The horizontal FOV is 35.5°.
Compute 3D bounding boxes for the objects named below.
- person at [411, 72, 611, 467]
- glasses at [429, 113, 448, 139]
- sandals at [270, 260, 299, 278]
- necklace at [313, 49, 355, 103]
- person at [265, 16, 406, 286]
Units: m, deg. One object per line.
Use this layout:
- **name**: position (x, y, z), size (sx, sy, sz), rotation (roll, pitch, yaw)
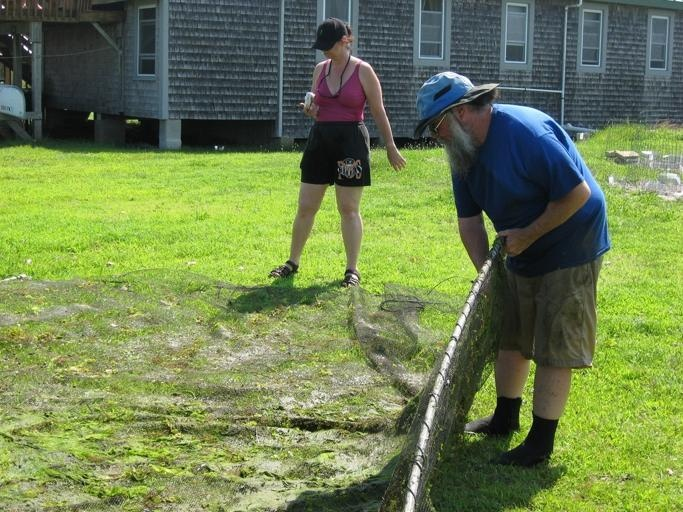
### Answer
- **person**: position (1.335, 0.101, 8.114), size (1.309, 2.887, 0.518), rotation (4, 5, 16)
- **glasses**: position (0.725, -0.982, 8.027), size (0.038, 0.154, 0.133), rotation (16, -5, -8)
- **sandals**: position (-0.586, 0.138, 10.775), size (0.122, 0.154, 0.323), rotation (27, 29, 34)
- **necklace**: position (-0.060, -1.733, 10.536), size (0.438, 0.541, 0.367), rotation (-2, -4, 15)
- **person**: position (-0.040, -1.036, 10.582), size (1.110, 2.580, 0.587), rotation (2, 4, 0)
